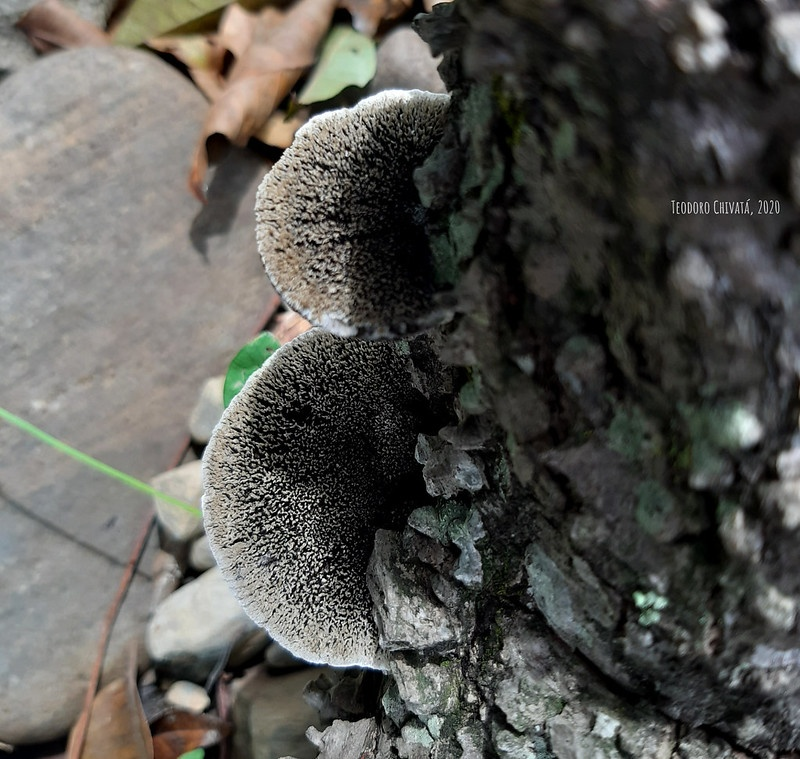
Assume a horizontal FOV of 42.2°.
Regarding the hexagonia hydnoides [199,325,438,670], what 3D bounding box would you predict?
[{"bbox_3d":[-0.210,0.252,2.323,0.472,0.183,0.718,9,77,0],"label":"hexagonia hydnoides"}]
